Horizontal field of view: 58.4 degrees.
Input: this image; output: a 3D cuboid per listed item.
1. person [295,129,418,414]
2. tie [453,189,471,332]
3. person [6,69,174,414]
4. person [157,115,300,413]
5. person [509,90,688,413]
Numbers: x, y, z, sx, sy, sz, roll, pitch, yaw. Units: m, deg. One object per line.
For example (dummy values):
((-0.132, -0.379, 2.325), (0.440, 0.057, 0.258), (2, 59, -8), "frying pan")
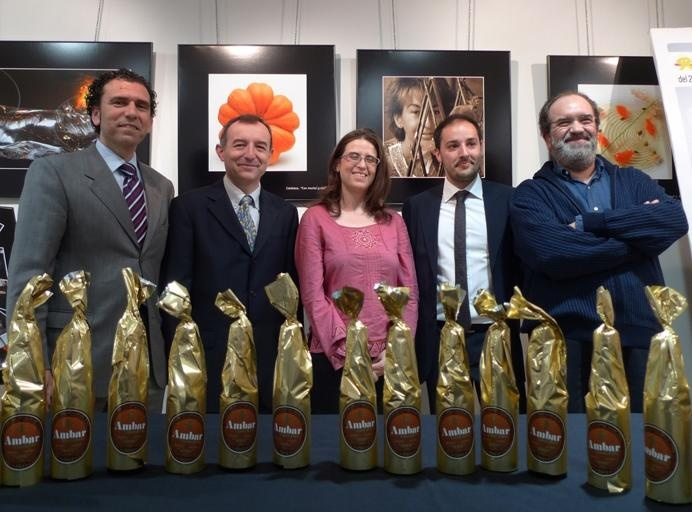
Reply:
((0.058, -0.079, 2.807), (0.546, 1.022, 0.556), (-6, 7, -42), "person")
((0.541, 0.009, 2.886), (0.074, 0.634, 0.284), (0, 5, 10), "tie")
((-1.055, -0.113, 2.607), (0.414, 1.382, 0.808), (1, 6, 23), "person")
((-0.494, 0.013, 2.859), (0.497, 1.333, 0.587), (3, 7, 41), "person")
((1.101, -0.060, 2.754), (0.611, 1.391, 0.656), (-5, 7, -38), "person")
